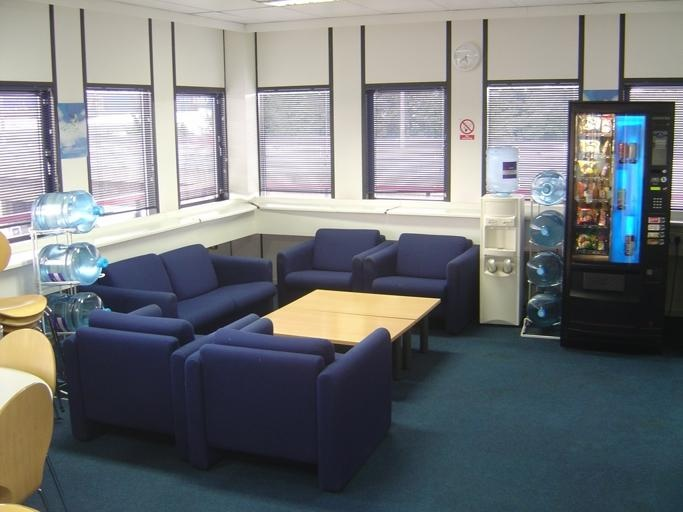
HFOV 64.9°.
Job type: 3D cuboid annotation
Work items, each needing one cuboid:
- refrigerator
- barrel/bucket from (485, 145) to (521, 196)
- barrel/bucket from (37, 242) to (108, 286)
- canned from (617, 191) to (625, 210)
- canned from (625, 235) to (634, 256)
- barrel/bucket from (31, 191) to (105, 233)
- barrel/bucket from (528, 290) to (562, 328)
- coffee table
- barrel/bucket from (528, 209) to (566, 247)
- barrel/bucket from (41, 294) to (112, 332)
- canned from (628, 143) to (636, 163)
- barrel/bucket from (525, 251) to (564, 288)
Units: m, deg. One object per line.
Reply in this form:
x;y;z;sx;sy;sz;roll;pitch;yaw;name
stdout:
3.046;-0.312;5.959;1.055;2.717;0.506;2;15;12;refrigerator
2.120;-1.115;7.080;0.396;0.582;0.416;-1;14;0;barrel/bucket
-2.744;0.084;5.426;0.437;0.258;0.262;1;32;13;barrel/bucket
3.093;-0.622;5.943;0.096;0.219;0.036;1;15;9;canned
3.194;-0.110;5.952;0.085;0.211;0.055;4;16;20;canned
-2.722;-0.420;5.659;0.914;0.492;0.525;1;4;0;barrel/bucket
2.590;0.649;6.646;0.410;0.380;0.454;2;7;31;barrel/bucket
0.116;0.698;5.750;1.076;0.280;1.167;3;11;18;coffee table
2.552;-0.339;6.690;0.444;0.413;0.463;-11;12;2;barrel/bucket
-2.581;0.557;5.183;0.367;0.223;0.228;-4;23;15;barrel/bucket
3.171;-1.117;5.851;0.091;0.206;0.041;-1;15;-1;canned
2.483;0.178;6.555;0.426;0.398;0.257;9;19;28;barrel/bucket
